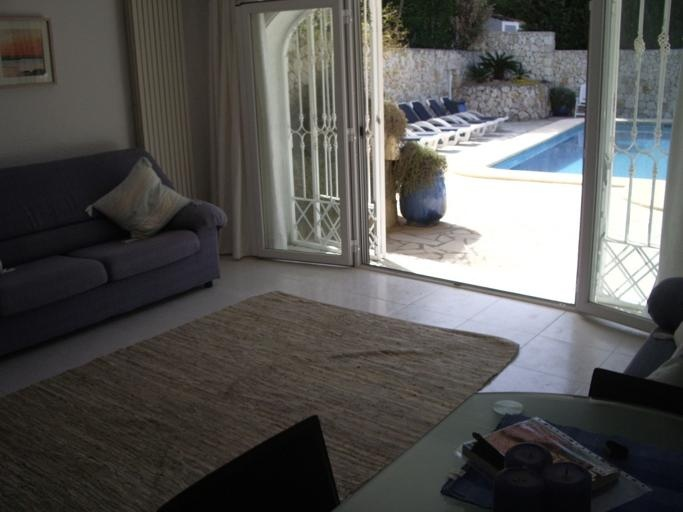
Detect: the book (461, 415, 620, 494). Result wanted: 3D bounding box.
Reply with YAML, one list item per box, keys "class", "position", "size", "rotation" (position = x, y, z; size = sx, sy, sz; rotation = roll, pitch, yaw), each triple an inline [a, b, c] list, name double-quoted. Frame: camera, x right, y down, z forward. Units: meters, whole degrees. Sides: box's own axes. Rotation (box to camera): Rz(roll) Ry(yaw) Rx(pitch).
- class: "book"
  position: [0.537, 0.550, 1.404]
  size: [0.288, 0.070, 0.302]
  rotation: [-6, 13, -30]

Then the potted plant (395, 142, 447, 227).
- class: "potted plant"
  position: [1.050, -0.898, 6.526]
  size: [0.583, 0.912, 0.577]
  rotation: [9, 24, 29]

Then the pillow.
- class: "pillow"
  position: [-1.739, -0.471, 4.579]
  size: [0.838, 0.224, 0.909]
  rotation: [6, 52, -5]

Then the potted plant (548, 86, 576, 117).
- class: "potted plant"
  position: [7.005, -4.942, 16.394]
  size: [0.802, 0.917, 0.276]
  rotation: [5, 12, 19]

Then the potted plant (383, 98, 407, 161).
- class: "potted plant"
  position: [0.612, -1.492, 6.101]
  size: [0.281, 0.655, 0.147]
  rotation: [-3, 12, -16]
